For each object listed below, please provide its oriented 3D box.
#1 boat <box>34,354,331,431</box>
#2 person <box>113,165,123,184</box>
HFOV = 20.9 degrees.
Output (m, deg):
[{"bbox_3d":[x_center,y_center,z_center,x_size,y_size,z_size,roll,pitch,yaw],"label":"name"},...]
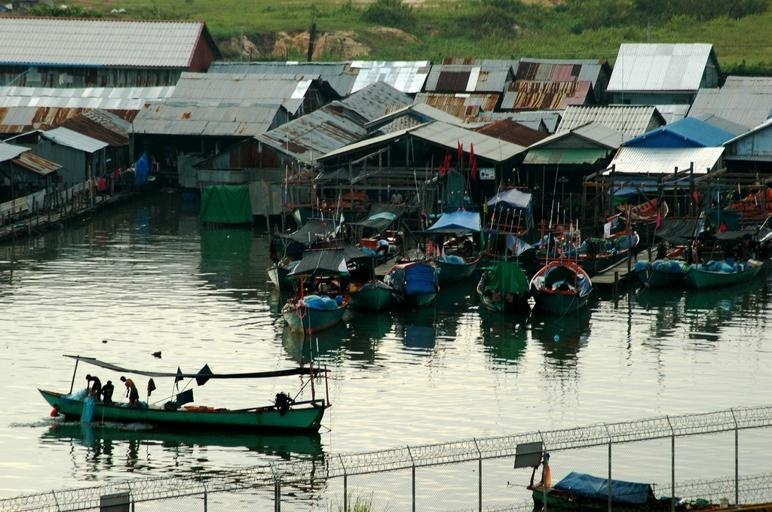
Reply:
[{"bbox_3d":[-11.079,7.512,112.707,15.260,3.373,2.689,3,-5,3],"label":"boat"},{"bbox_3d":[-19.039,-5.526,146.954,0.365,1.099,1.136,-9,15,-17],"label":"person"}]
